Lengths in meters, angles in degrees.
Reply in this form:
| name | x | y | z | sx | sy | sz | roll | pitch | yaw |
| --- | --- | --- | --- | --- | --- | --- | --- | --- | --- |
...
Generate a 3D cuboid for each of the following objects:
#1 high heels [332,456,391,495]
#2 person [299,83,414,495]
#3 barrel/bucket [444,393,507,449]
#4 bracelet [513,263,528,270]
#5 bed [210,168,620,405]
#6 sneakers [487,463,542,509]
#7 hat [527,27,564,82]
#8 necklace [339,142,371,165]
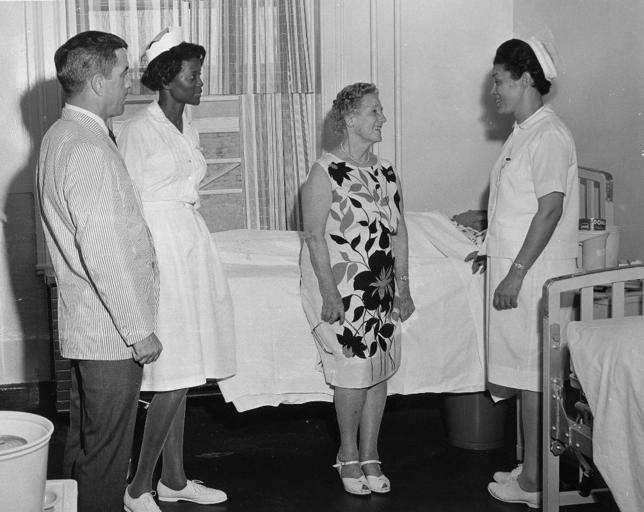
| name | x | y | z | sx | sy | sz | roll | pitch | yaw |
| --- | --- | --- | --- | --- | --- | --- | --- | --- | --- |
| high heels | 0.136 | 0.721 | 2.491 | 0.100 | 0.066 | 0.161 | 1 | -2 | -25 |
| person | 0.123 | 0.109 | 2.512 | 0.401 | 1.347 | 0.184 | -2 | 4 | -7 |
| barrel/bucket | 0.564 | 0.600 | 2.746 | 0.198 | 0.182 | 0.193 | 0 | -9 | 0 |
| bracelet | 0.632 | 0.032 | 2.376 | 0.041 | 0.016 | 0.020 | 21 | 2 | 5 |
| bed | 0.109 | 0.101 | 2.676 | 0.817 | 0.497 | 0.567 | -3 | 13 | -13 |
| sneakers | 0.646 | 0.744 | 2.484 | 0.147 | 0.073 | 0.097 | 11 | 16 | 34 |
| hat | 0.724 | -0.645 | 2.429 | 0.095 | 0.160 | 0.157 | 0 | 4 | 28 |
| necklace | 0.116 | -0.338 | 2.476 | 0.095 | 0.094 | 0.060 | 21 | 18 | 32 |
